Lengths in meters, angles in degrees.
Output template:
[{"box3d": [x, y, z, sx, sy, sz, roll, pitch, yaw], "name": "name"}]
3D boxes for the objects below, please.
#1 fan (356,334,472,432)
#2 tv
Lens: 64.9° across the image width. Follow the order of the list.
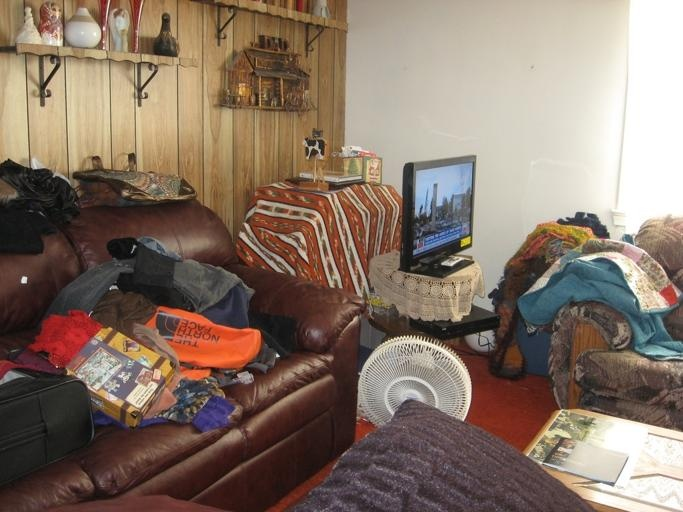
[{"box3d": [0.327, 0.556, 2.356, 0.459, 0.523, 0.180, 16, 36, 7], "name": "fan"}, {"box3d": [0.505, -0.225, 2.814, 0.188, 0.591, 0.750, 9, 16, 36], "name": "tv"}]
